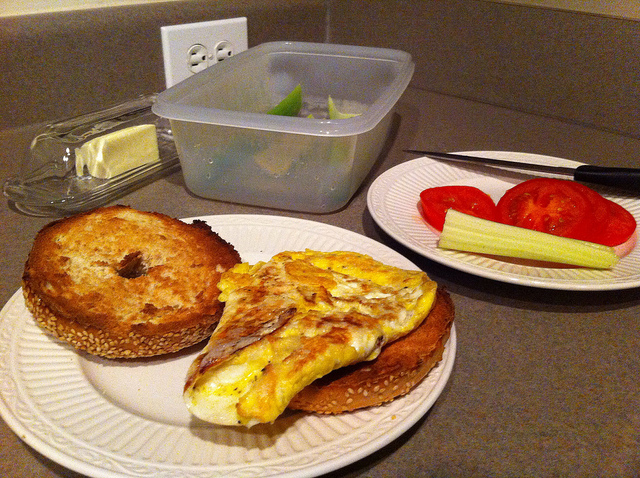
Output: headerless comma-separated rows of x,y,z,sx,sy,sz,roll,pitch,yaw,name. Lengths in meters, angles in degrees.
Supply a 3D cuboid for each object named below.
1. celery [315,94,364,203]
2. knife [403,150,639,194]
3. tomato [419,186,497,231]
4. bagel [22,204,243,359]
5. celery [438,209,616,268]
0.039,-0.169,1.260,0.096,0.193,0.055,-2,51,-8,celery
0.542,-0.180,1.410,0.600,0.061,0.059,12,86,18,knife
0.346,-0.094,1.278,0.145,0.036,0.133,-15,44,-28,tomato
-0.351,0.087,0.986,0.330,0.086,0.326,-17,48,-39,bagel
0.455,0.006,1.131,0.363,0.073,0.081,12,49,4,celery
